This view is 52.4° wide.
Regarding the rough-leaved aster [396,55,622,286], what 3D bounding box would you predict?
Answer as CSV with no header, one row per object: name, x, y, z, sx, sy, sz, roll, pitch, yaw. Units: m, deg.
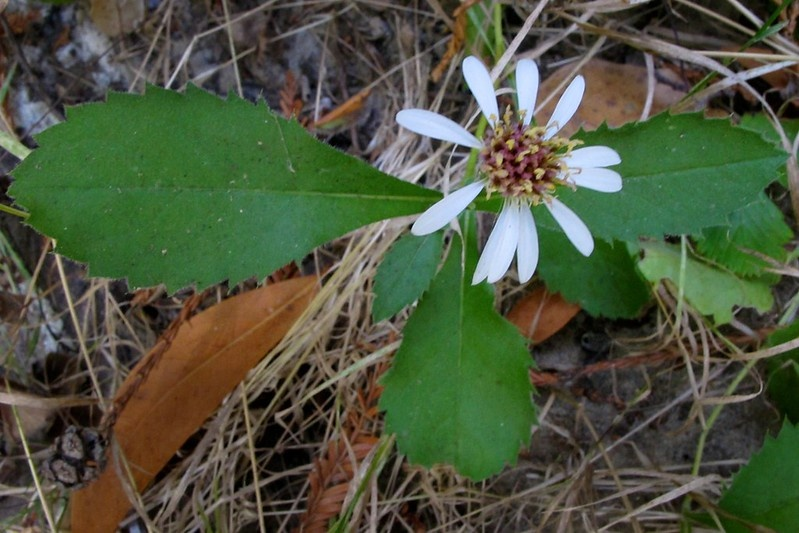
rough-leaved aster,0.440,-0.419,3.222,0.976,1.089,0.333,19,45,25
